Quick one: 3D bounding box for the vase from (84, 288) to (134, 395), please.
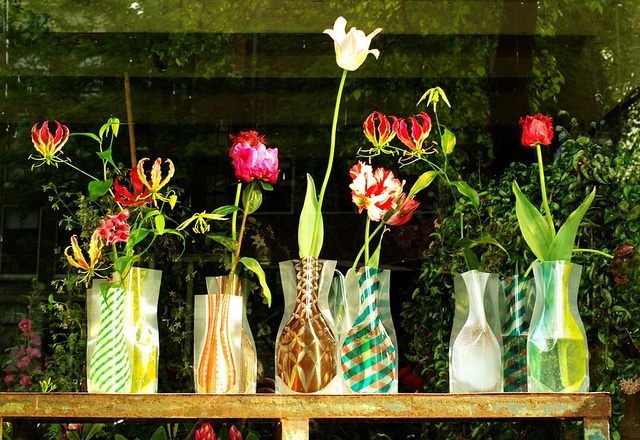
[{"bbox_3d":[-0.654,0.368,2.441,0.121,0.310,0.086,-2,6,-12],"label":"vase"}]

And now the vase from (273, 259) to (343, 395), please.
[{"bbox_3d":[-0.042,0.322,2.443,0.190,0.401,0.131,0,5,0],"label":"vase"}]

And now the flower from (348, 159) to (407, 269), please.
[{"bbox_3d":[0.200,-0.004,2.737,0.184,0.432,0.193,16,-25,-12],"label":"flower"}]

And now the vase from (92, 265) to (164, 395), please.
[{"bbox_3d":[-0.617,0.359,2.546,0.209,0.384,0.247,0,-17,4],"label":"vase"}]

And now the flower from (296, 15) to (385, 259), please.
[{"bbox_3d":[0.073,-0.287,2.727,0.265,0.866,0.630,0,6,4],"label":"flower"}]

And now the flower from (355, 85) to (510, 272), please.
[{"bbox_3d":[0.420,-0.149,2.856,0.402,0.466,0.629,-8,16,-21],"label":"flower"}]

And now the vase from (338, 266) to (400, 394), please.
[{"bbox_3d":[0.148,0.337,2.450,0.175,0.373,0.115,0,5,1],"label":"vase"}]

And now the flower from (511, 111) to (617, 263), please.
[{"bbox_3d":[0.781,-0.094,2.567,0.264,0.483,0.425,2,6,21],"label":"flower"}]

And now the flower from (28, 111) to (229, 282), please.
[{"bbox_3d":[-0.665,-0.066,2.810,0.730,0.435,0.488,16,-19,-28],"label":"flower"}]

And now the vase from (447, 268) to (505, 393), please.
[{"bbox_3d":[0.485,0.339,2.463,0.163,0.363,0.149,1,6,10],"label":"vase"}]

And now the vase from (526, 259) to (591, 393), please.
[{"bbox_3d":[0.721,0.321,2.400,0.177,0.389,0.115,1,6,17],"label":"vase"}]

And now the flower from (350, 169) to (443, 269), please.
[{"bbox_3d":[0.274,0.008,2.785,0.208,0.399,0.205,9,-17,35],"label":"flower"}]

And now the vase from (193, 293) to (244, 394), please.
[{"bbox_3d":[-0.313,0.378,2.433,0.146,0.292,0.088,-1,6,-8],"label":"vase"}]
